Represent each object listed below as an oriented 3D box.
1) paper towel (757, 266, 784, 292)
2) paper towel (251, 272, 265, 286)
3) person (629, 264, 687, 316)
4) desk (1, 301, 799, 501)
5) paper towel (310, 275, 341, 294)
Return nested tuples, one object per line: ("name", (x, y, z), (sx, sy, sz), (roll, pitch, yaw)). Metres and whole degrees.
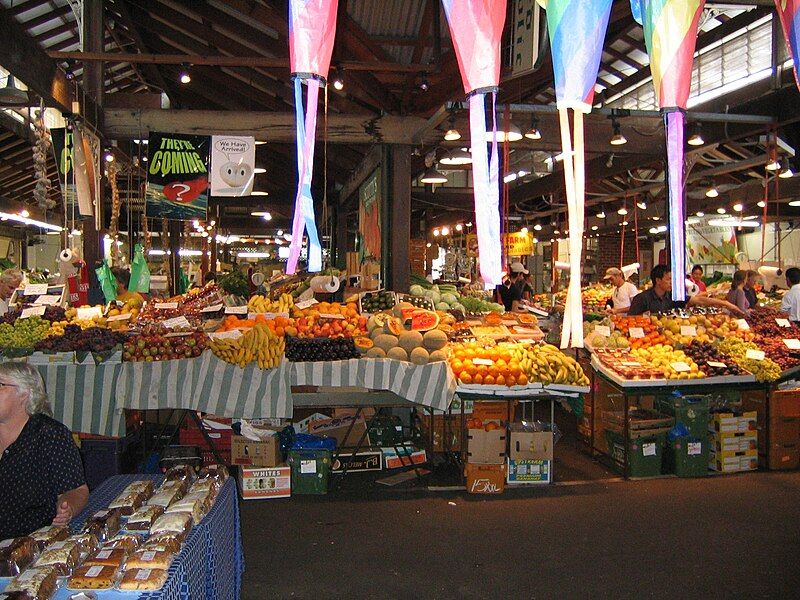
("paper towel", (6.642, -0.388, 12.232), (0.422, 0.441, 0.421), (-2, 2, 17))
("paper towel", (-2.363, -0.360, 11.205), (0.192, 0.214, 1.341), (-1, 2, -13))
("person", (2.985, -0.079, 8.161), (0.581, 0.913, 0.698), (0, 7, -17))
("desk", (-0.031, 0.992, 6.470), (4.187, 1.830, 2.070), (-2, 1, -4))
("paper towel", (-0.870, -0.191, 7.936), (0.199, 0.234, 0.288), (4, -5, -43))
